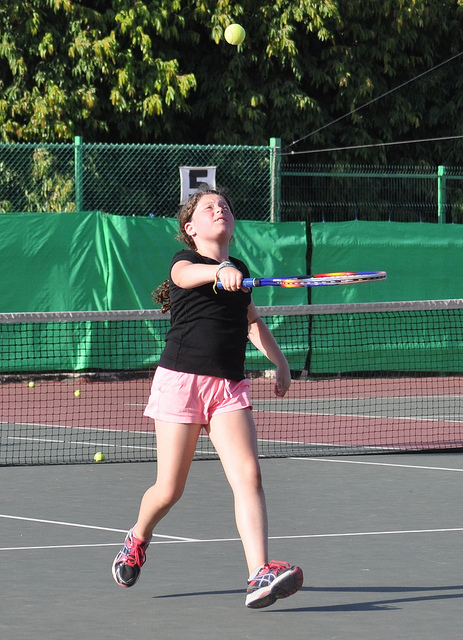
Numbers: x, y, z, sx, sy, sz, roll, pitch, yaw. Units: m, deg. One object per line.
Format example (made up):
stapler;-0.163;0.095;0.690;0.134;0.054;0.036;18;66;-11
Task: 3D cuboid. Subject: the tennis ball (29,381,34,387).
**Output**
tennis ball;-2.395;0.766;12.918;0.047;0.057;0.048;-2;10;0

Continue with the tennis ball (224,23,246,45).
tennis ball;0.049;-4.027;15.274;0.262;0.335;0.297;1;2;6

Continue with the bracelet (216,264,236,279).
bracelet;-0.020;-0.166;3.663;0.062;0.048;0.108;-1;1;-1

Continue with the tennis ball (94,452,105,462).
tennis ball;-0.959;1.012;7.873;0.052;0.071;0.057;-15;37;-16

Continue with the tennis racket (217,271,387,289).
tennis racket;0.267;-0.147;3.945;0.577;0.049;0.446;-1;1;-15
